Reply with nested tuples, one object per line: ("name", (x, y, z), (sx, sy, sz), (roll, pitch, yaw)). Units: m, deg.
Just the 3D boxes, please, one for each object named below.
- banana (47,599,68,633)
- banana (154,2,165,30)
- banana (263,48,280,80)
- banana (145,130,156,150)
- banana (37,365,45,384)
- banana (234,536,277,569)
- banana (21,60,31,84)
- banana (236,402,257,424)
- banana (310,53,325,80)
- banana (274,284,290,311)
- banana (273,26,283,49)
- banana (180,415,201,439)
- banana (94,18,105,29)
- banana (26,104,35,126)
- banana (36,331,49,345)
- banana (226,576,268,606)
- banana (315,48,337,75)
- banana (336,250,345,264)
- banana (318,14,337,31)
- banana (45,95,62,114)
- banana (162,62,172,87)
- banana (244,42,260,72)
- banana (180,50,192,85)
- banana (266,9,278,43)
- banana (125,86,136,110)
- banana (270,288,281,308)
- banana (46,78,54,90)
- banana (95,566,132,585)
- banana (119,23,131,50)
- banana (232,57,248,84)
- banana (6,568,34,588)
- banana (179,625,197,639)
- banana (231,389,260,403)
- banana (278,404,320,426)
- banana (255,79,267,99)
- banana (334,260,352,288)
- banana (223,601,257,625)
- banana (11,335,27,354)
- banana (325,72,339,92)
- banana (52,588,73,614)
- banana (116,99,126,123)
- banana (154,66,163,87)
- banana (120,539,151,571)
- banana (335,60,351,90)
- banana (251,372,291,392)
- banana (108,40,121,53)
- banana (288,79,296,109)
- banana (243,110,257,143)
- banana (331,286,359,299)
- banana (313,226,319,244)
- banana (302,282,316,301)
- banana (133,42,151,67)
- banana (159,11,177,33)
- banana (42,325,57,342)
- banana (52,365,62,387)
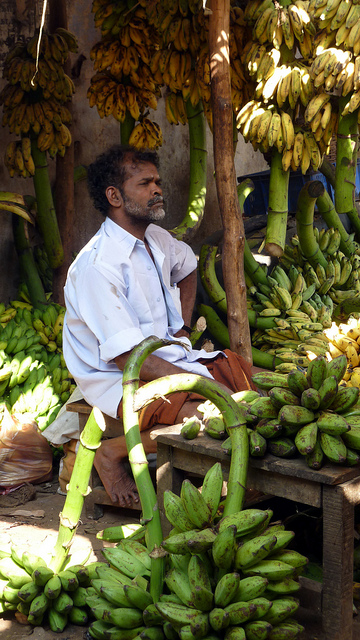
("banana", (-0.350, 0.841, 1.614), (0.039, 0.082, 0.028), (-13, -6, 26))
("banana", (-0.114, -1.791, 3.362), (0.050, 0.195, 0.059), (27, -30, -37))
("banana", (0.462, -1.281, 2.838), (0.048, 0.184, 0.059), (20, -15, -11))
("banana", (-0.195, -1.168, 3.724), (0.041, 0.154, 0.050), (-23, -9, 40))
("banana", (-0.849, 0.330, 3.453), (0.062, 0.080, 0.033), (-9, 5, -39))
("banana", (0.166, 0.499, 1.244), (0.099, 0.059, 0.035), (-29, -33, -9))
("banana", (-0.958, -1.543, 3.511), (0.056, 0.176, 0.041), (5, -13, -8))
("banana", (0.176, 0.241, 1.520), (0.083, 0.028, 0.023), (44, -8, 19))
("banana", (0.652, -1.195, 2.708), (0.025, 0.150, 0.036), (20, -5, -25))
("banana", (0.678, -0.138, 3.715), (0.068, 0.205, 0.058), (-25, 1, 26))
("banana", (0.490, -1.402, 2.818), (0.025, 0.101, 0.031), (3, 2, -9))
("banana", (0.035, 0.307, 1.613), (0.033, 0.029, 0.066), (19, -39, 2))
("banana", (-0.512, -1.862, 3.555), (0.028, 0.099, 0.028), (36, 0, -35))
("banana", (-0.963, -1.313, 3.654), (0.038, 0.155, 0.049), (-10, -18, -1))
("banana", (-0.890, 0.132, 3.666), (0.059, 0.104, 0.048), (-26, 5, -30))
("banana", (0.138, 0.571, 1.191), (0.089, 0.029, 0.033), (-32, -27, -33))
("banana", (0.690, -1.236, 2.710), (0.051, 0.186, 0.054), (24, -20, 15))
("banana", (1.143, -0.461, 4.056), (0.031, 0.103, 0.052), (8, -16, -44))
("banana", (0.721, -1.466, 2.781), (0.027, 0.035, 0.100), (-37, -12, -33))
("banana", (-0.821, -1.393, 3.679), (0.068, 0.129, 0.041), (-32, 3, -24))
("banana", (-0.078, -1.491, 3.456), (0.040, 0.126, 0.029), (10, 19, 9))
("banana", (0.376, -1.412, 2.997), (0.054, 0.178, 0.035), (20, -9, 14))
("banana", (0.034, -1.504, 3.381), (0.047, 0.190, 0.056), (0, -2, -23))
("banana", (0.448, -1.434, 2.771), (0.040, 0.137, 0.037), (15, -1, -39))
("banana", (-0.316, -1.418, 3.591), (0.044, 0.174, 0.055), (-3, -23, -6))
("banana", (0.636, -0.137, 3.790), (0.036, 0.146, 0.048), (-24, 15, 5))
("banana", (-0.833, -1.501, 3.597), (0.035, 0.064, 0.014), (-3, 6, -20))
("banana", (-0.174, 0.679, 1.500), (0.087, 0.030, 0.030), (16, 13, 17))
("banana", (-0.336, -1.736, 3.470), (0.052, 0.161, 0.044), (5, -9, -29))
("banana", (0.355, -1.455, 3.325), (0.039, 0.157, 0.049), (-20, 14, 4))
("banana", (-0.475, 0.750, 1.646), (0.039, 0.024, 0.070), (20, -39, -11))
("banana", (0.015, 0.641, 1.153), (0.027, 0.019, 0.032), (33, -48, -27))
("banana", (0.201, 0.237, 1.751), (0.070, 0.026, 0.039), (-5, 3, 17))
("banana", (0.286, 0.230, 1.357), (0.091, 0.054, 0.031), (5, -20, -37))
("banana", (0.410, -1.181, 2.898), (0.028, 0.092, 0.024), (21, 12, -22))
("banana", (1.159, -0.331, 4.031), (0.055, 0.225, 0.077), (19, 4, -9))
("banana", (0.124, 0.599, 1.160), (0.029, 0.039, 0.109), (-3, -9, -21))
("banana", (-0.972, 0.154, 3.434), (0.038, 0.050, 0.146), (21, 37, 5))
("banana", (0.722, -1.140, 2.720), (0.024, 0.089, 0.030), (31, 25, -31))
("banana", (-0.329, 0.793, 1.586), (0.041, 0.027, 0.078), (-10, 31, -19))
("banana", (-0.374, -1.326, 3.615), (0.036, 0.151, 0.032), (-22, 21, -36))
("banana", (-0.133, -1.508, 3.508), (0.028, 0.110, 0.037), (-9, 13, -20))
("banana", (-0.117, 0.644, 1.570), (0.035, 0.047, 0.133), (0, 6, -16))
("banana", (0.776, -1.152, 2.700), (0.037, 0.147, 0.041), (21, -15, -27))
("banana", (0.257, 0.173, 1.557), (0.083, 0.052, 0.030), (11, 0, -26))
("banana", (-0.410, -1.701, 3.532), (0.023, 0.089, 0.027), (28, -22, 27))
("banana", (0.567, -1.111, 2.836), (0.029, 0.097, 0.025), (4, 30, 6))
("banana", (0.368, -1.000, 2.917), (0.050, 0.167, 0.042), (26, -18, -23))
("banana", (1.131, -0.173, 3.922), (0.093, 0.058, 0.232), (-40, 29, -27))
("banana", (0.971, -0.594, 4.041), (0.039, 0.134, 0.034), (-3, 23, 14))
("banana", (0.865, -0.186, 3.780), (0.047, 0.060, 0.164), (27, 36, 8))
("banana", (-0.237, -1.640, 3.489), (0.058, 0.157, 0.043), (-48, 6, -39))
("banana", (-0.083, -1.732, 3.316), (0.053, 0.164, 0.042), (30, 2, -45))
("banana", (-0.838, 0.088, 3.652), (0.051, 0.112, 0.036), (-26, 9, 19))
("banana", (-0.775, 0.352, 3.534), (0.032, 0.130, 0.041), (5, -14, -14))
